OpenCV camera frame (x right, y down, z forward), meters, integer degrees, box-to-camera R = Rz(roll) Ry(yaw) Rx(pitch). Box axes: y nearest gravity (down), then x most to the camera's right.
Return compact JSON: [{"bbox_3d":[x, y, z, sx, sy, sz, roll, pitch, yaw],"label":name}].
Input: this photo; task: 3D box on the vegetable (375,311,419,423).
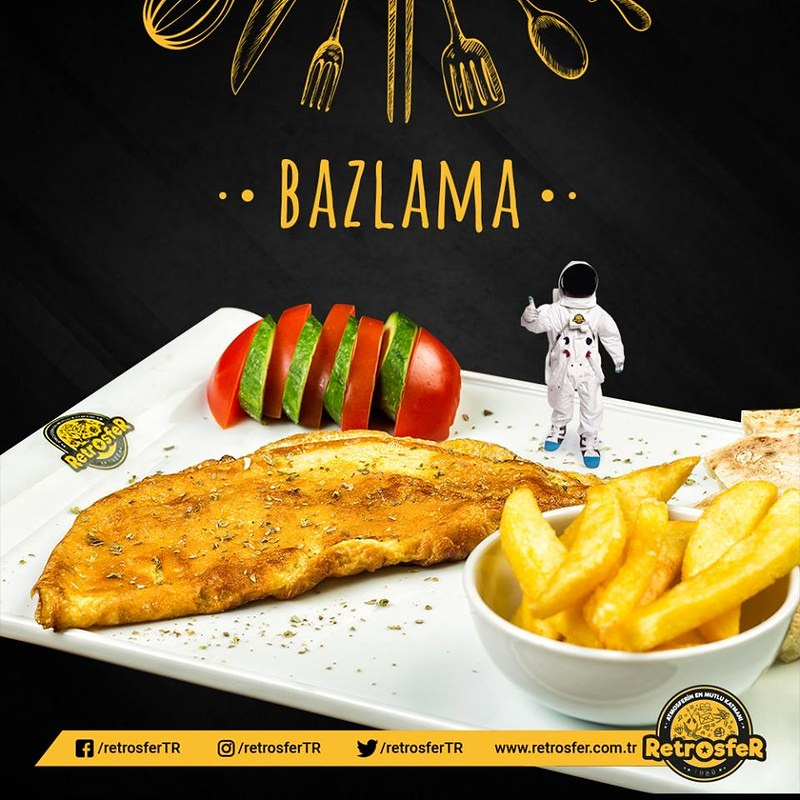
[{"bbox_3d":[-0.005,-0.157,3.609,0.137,0.491,0.292,3,14,16],"label":"vegetable"}]
